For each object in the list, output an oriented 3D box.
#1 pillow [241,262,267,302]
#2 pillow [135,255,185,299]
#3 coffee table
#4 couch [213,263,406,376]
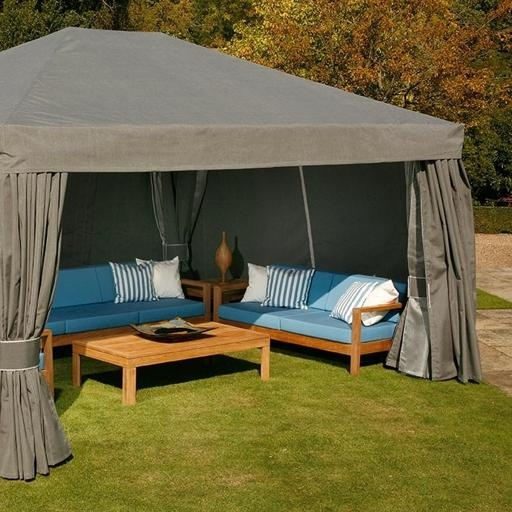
[{"bbox_3d":[-0.014,0.262,6.917,0.319,0.349,0.100,1,-8,26],"label":"pillow"},{"bbox_3d":[-1.030,0.230,7.070,0.384,0.410,0.133,-2,-10,-35],"label":"pillow"},{"bbox_3d":[-0.674,0.781,5.264,1.397,0.403,0.823,-3,7,-35],"label":"coffee table"},{"bbox_3d":[0.406,0.539,6.259,1.719,0.776,0.674,6,5,41],"label":"couch"}]
